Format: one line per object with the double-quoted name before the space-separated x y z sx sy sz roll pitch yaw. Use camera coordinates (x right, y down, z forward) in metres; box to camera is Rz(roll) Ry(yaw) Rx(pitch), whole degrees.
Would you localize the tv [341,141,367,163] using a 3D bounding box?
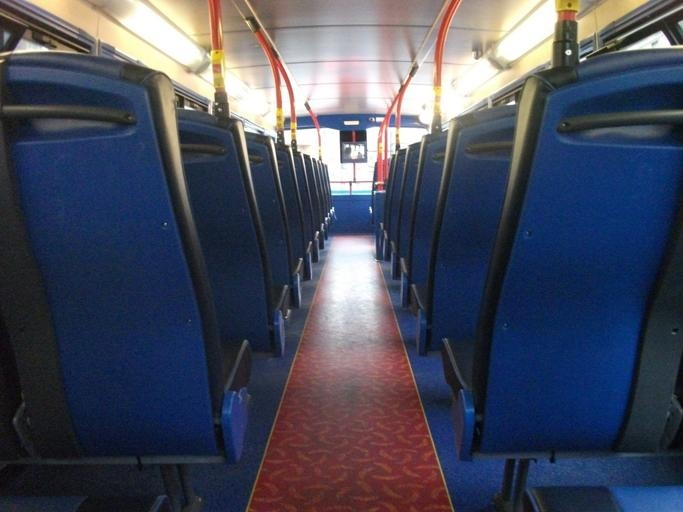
"tv" 0.415 -3.584 16.263 0.642 0.554 0.093 0 19 0
